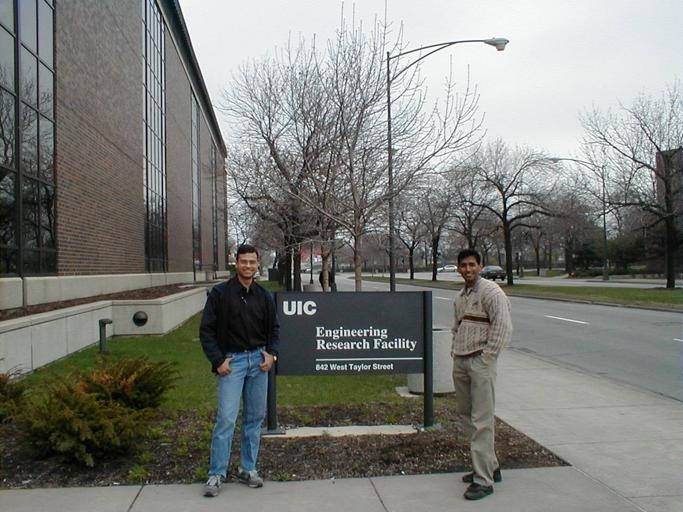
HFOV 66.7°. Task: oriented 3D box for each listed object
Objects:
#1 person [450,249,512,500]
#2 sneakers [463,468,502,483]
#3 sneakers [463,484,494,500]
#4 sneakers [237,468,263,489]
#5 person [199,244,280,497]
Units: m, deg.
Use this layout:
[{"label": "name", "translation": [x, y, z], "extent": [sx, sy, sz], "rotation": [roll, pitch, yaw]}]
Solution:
[{"label": "person", "translation": [1.418, 1.160, 5.495], "extent": [0.546, 2.462, 0.598], "rotation": [0, 0, -29]}, {"label": "sneakers", "translation": [1.489, 2.313, 5.452], "extent": [0.463, 0.236, 0.166], "rotation": [11, -16, -26]}, {"label": "sneakers", "translation": [1.372, 2.326, 5.165], "extent": [0.300, 0.151, 0.116], "rotation": [9, -17, -28]}, {"label": "sneakers", "translation": [-0.946, 2.308, 5.435], "extent": [0.115, 0.131, 0.278], "rotation": [7, -10, -38]}, {"label": "person", "translation": [-1.047, 1.139, 5.414], "extent": [0.808, 2.489, 0.332], "rotation": [0, 0, -19]}]
